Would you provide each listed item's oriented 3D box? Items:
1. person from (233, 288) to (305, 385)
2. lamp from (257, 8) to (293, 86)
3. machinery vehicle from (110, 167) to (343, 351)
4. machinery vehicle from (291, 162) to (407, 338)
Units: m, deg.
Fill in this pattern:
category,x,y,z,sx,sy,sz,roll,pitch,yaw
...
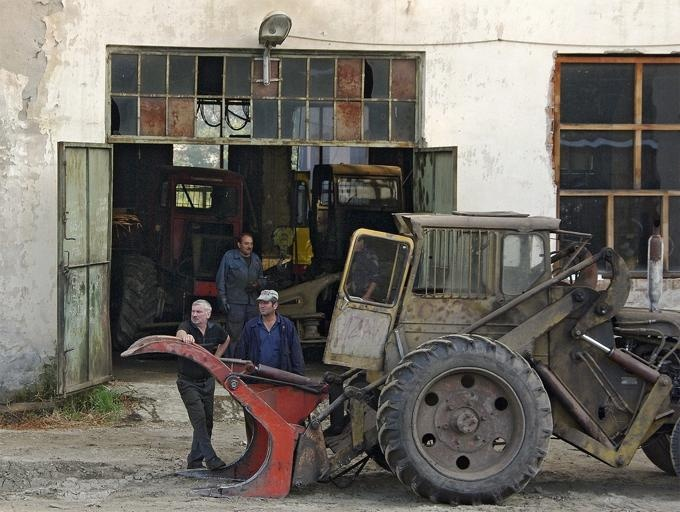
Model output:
category,x,y,z,sx,sy,sz,roll,pitch,yaw
person,-0.907,0.992,16.627,0.873,1.400,0.425,-1,34,-4
lamp,-0.942,-2.886,18.695,0.424,1.038,0.651,-1,11,-6
machinery vehicle,-2.036,-0.150,23.878,2.479,3.029,3.821,0,11,8
machinery vehicle,0.234,-0.210,23.919,2.303,2.762,1.793,1,3,5
